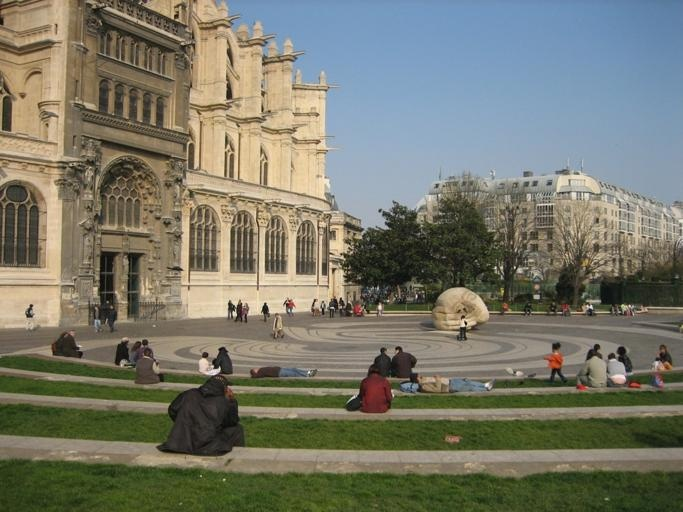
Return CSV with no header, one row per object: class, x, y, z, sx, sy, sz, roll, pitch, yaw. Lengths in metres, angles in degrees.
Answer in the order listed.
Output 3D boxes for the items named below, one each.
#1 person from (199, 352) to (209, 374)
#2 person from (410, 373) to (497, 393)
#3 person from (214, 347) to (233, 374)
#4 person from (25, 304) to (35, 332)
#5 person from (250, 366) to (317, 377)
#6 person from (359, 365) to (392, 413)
person,-5.744,4.382,38.817,0.432,1.010,1.310,-1,5,-7
person,4.188,4.974,36.220,2.978,0.590,1.152,1,-1,1
person,-4.939,4.358,38.988,0.730,1.131,0.877,-2,5,-19
person,-17.688,3.359,52.704,0.525,1.379,1.830,-2,5,-19
person,-2.453,4.797,38.801,1.685,0.281,0.965,2,-3,0
person,1.242,4.851,33.366,1.196,1.630,1.509,0,3,3
